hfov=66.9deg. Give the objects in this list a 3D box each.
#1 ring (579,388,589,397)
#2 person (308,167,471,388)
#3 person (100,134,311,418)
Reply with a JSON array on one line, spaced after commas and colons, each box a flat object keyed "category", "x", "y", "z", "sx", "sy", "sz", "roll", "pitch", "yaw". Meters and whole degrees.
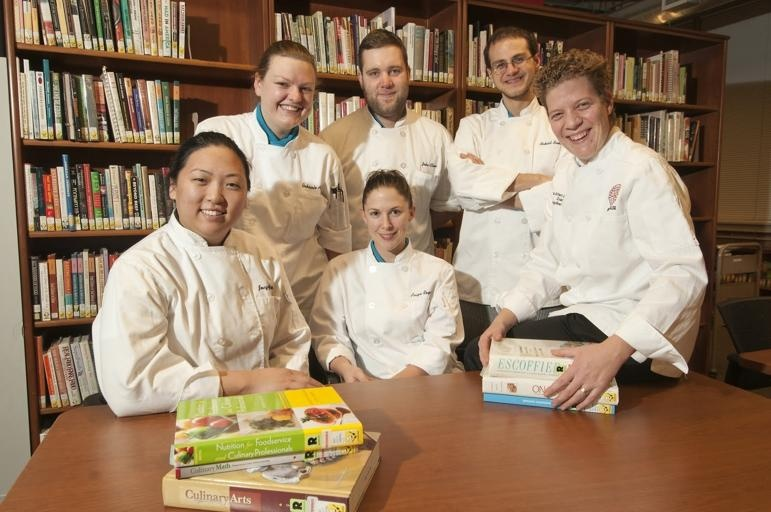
[{"category": "ring", "x": 0.652, "y": 0.444, "z": 1.908, "sx": 0.020, "sy": 0.020, "sz": 0.005, "roll": -38, "pitch": -10, "yaw": -2}, {"category": "person", "x": 0.002, "y": 0.131, "z": 2.753, "sx": 0.720, "sy": 1.007, "sz": 0.687, "roll": -3, "pitch": 10, "yaw": -1}, {"category": "person", "x": -0.630, "y": 0.049, "z": 2.191, "sx": 0.600, "sy": 0.995, "sz": 0.809, "roll": 11, "pitch": 12, "yaw": 44}]
